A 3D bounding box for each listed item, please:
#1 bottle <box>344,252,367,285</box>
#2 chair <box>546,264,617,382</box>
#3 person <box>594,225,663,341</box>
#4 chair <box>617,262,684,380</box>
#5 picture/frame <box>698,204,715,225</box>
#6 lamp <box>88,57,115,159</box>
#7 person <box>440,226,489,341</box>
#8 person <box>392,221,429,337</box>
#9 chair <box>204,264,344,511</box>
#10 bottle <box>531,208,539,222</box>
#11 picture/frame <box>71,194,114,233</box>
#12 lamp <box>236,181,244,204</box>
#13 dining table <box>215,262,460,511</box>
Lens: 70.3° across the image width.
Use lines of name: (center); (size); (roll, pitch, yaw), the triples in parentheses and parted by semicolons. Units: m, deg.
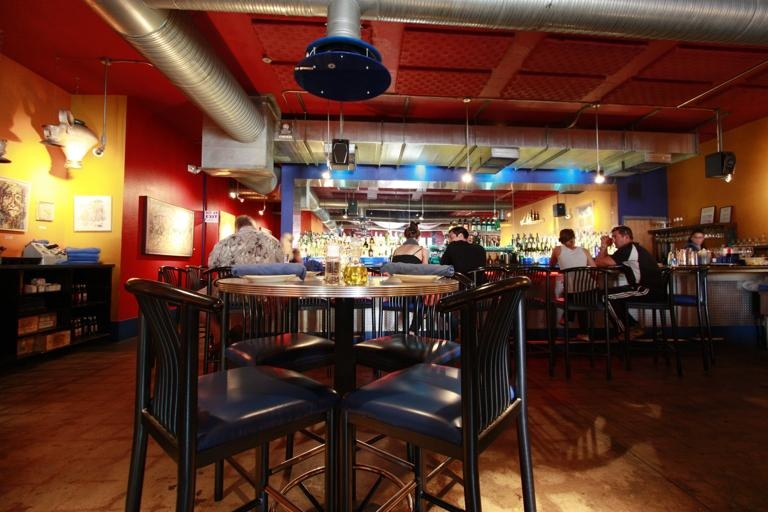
bottle: (-0.242, 0.125, 4.628); (0.215, 0.288, 0.217); (-2, -4, 0)
chair: (2.307, 0.730, 6.447); (0.683, 1.174, 0.705); (4, -7, 7)
person: (3.271, 0.351, 7.303); (0.807, 1.419, 0.919); (10, -8, -35)
chair: (3.418, 0.770, 7.054); (0.974, 1.298, 0.939); (1, -3, -23)
picture/frame: (5.991, -0.767, 10.172); (0.133, 0.359, 0.402); (6, -2, 7)
lamp: (-4.146, -2.080, 8.077); (0.254, 1.213, 1.088); (-1, -1, -27)
person: (1.090, 0.112, 7.843); (0.522, 1.050, 0.531); (-20, 35, -40)
person: (0.366, 0.221, 7.909); (0.505, 1.428, 0.483); (11, 23, 26)
chair: (-0.947, 1.073, 6.229); (1.958, 3.013, 1.766); (0, 0, -9)
bottle: (4.035, -1.077, 14.704); (0.183, 0.259, 0.429); (-2, -1, 6)
picture/frame: (-4.501, -0.641, 8.403); (0.632, 0.620, 0.044); (1, -4, -9)
lamp: (-3.426, -1.521, 12.993); (0.167, 0.112, 0.532); (-1, -27, -13)
dining table: (-0.352, 1.113, 5.048); (2.057, 1.885, 1.874); (-1, -7, 2)
